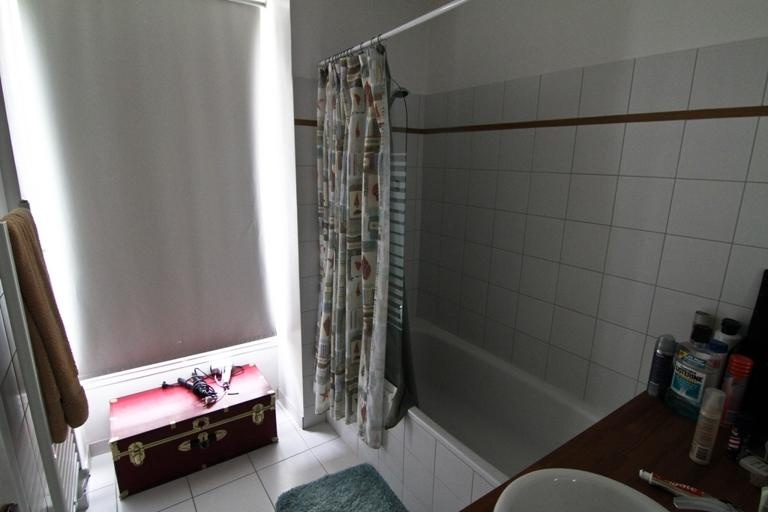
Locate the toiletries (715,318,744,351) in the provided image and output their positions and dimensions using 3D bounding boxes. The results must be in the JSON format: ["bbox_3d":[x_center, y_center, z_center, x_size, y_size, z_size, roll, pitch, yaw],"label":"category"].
[{"bbox_3d":[1.502,0.353,2.229,0.103,0.146,0.089,-6,21,-21],"label":"toiletries"}]

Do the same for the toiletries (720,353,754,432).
[{"bbox_3d":[1.456,0.561,2.120,0.086,0.291,0.113,13,26,37],"label":"toiletries"}]

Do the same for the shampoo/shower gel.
[{"bbox_3d":[1.336,0.503,2.202,0.118,0.405,0.185,-6,18,-24],"label":"shampoo/shower gel"}]

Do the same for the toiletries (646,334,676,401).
[{"bbox_3d":[1.232,0.492,2.296,0.095,0.295,0.105,-9,26,-38],"label":"toiletries"}]

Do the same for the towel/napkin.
[{"bbox_3d":[-1.322,0.307,2.269,0.222,0.915,0.533,0,15,-18],"label":"towel/napkin"}]

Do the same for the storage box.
[{"bbox_3d":[-1.121,1.002,3.030,0.902,0.413,0.346,-13,22,-25],"label":"storage box"}]

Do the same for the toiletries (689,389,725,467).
[{"bbox_3d":[1.281,0.654,2.012,0.075,0.284,0.212,13,26,37],"label":"toiletries"}]

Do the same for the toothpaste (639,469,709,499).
[{"bbox_3d":[1.045,0.845,1.906,0.277,0.045,0.083,11,31,29],"label":"toothpaste"}]
